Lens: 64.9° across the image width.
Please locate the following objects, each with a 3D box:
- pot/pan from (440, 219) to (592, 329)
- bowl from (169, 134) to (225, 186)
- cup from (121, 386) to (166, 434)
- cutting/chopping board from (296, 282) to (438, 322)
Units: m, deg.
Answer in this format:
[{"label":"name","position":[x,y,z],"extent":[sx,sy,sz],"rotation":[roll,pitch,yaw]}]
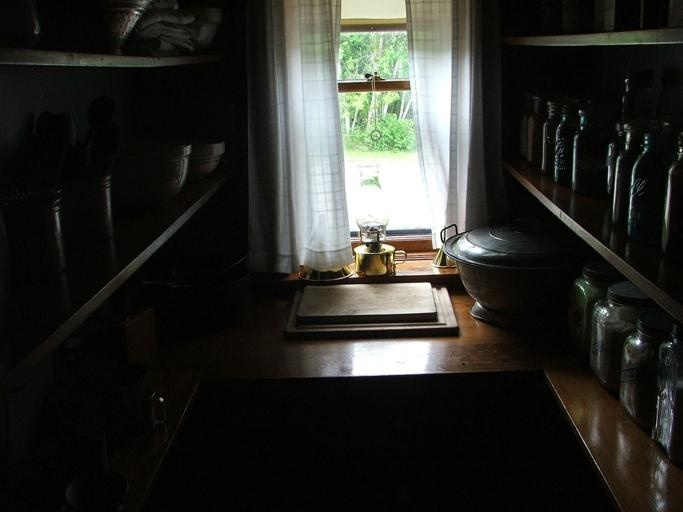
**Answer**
[{"label":"pot/pan","position":[0.520,0.061,1.616],"extent":[0.331,0.220,0.342],"rotation":[-2,15,-3]},{"label":"bowl","position":[-0.498,-0.310,1.773],"extent":[0.183,0.105,0.191],"rotation":[-6,15,2]},{"label":"cup","position":[-0.466,0.357,1.259],"extent":[0.114,0.118,0.072],"rotation":[4,3,-9]},{"label":"cutting/chopping board","position":[0.091,0.163,1.859],"extent":[0.329,0.037,0.196],"rotation":[-1,22,4]}]
